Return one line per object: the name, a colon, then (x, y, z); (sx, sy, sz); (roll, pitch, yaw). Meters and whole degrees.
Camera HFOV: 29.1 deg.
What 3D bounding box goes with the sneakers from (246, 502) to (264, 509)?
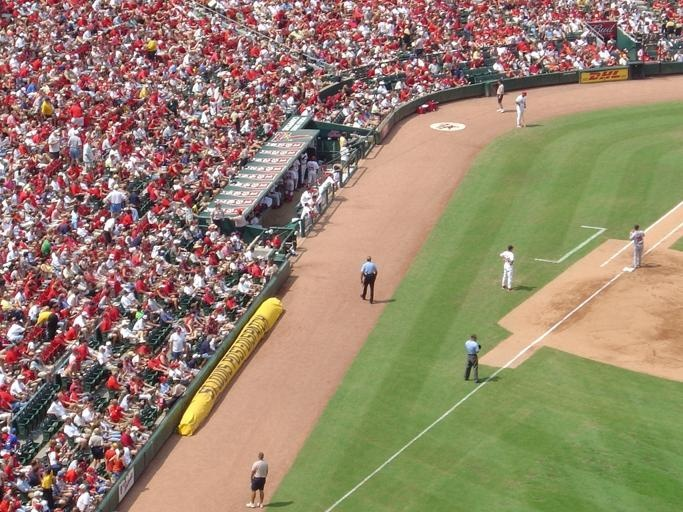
sneakers: (-3.565, 10.315, 54.247); (0.756, 0.250, 0.270); (6, 93, 5)
